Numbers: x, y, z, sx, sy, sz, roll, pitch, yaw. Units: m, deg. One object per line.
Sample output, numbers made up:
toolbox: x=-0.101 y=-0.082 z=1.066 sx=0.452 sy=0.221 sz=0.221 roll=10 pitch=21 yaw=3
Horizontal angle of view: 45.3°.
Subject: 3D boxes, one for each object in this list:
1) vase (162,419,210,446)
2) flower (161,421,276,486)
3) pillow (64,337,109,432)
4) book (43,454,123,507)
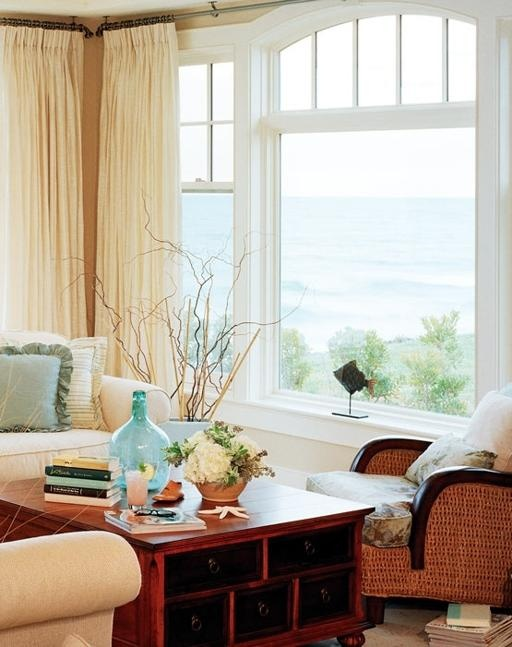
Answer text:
vase: x=-0.399 y=0.596 z=3.586 sx=0.324 sy=0.180 sz=0.313 roll=0 pitch=-3 yaw=0
flower: x=-0.116 y=0.429 z=2.010 sx=0.350 sy=0.194 sz=0.206 roll=-2 pitch=8 yaw=-10
pillow: x=-0.889 y=0.312 z=3.239 sx=0.124 sy=0.393 sz=0.357 roll=-7 pitch=-7 yaw=40
book: x=-0.571 y=0.512 z=2.004 sx=0.224 sy=0.142 sz=0.156 roll=-1 pitch=0 yaw=11
